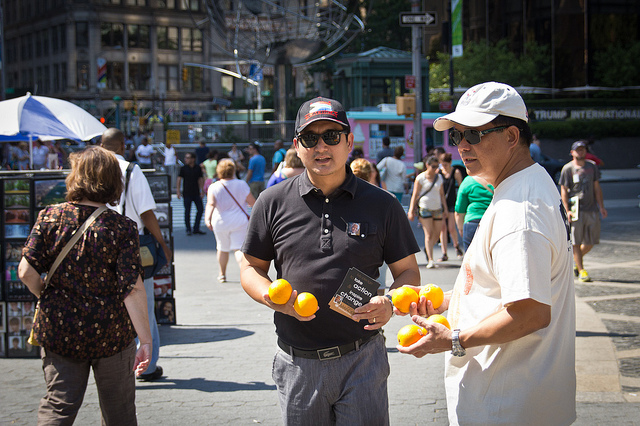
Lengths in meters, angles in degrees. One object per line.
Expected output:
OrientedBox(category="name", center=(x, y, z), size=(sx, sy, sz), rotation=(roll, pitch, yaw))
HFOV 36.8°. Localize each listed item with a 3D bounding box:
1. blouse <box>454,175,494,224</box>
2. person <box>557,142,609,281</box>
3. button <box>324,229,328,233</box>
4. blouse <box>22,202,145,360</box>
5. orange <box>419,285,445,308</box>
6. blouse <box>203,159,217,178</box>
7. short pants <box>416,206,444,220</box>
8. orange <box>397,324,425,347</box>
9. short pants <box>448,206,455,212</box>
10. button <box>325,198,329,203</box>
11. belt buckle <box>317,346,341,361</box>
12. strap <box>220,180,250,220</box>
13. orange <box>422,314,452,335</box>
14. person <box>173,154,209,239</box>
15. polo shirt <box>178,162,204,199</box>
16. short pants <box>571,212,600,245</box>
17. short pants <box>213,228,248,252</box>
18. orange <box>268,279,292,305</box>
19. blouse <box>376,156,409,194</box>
OrientedBox(category="blouse", center=(2.727, -0.221, 16.927), size=(0.351, 0.818, 0.936), rotation=(-3, 5, -13))
OrientedBox(category="person", center=(4.866, -0.191, 17.907), size=(1.056, 3.497, 1.532), rotation=(0, 1, 0))
OrientedBox(category="button", center=(0.079, 0.203, 10.974), size=(0.029, 0.036, 0.009), rotation=(-2, 4, 10))
OrientedBox(category="blouse", center=(-2.788, 0.818, 11.550), size=(1.929, 2.374, 1.246), rotation=(2, 11, -8))
OrientedBox(category="orange", center=(1.294, 0.936, 11.004), size=(0.253, 0.249, 0.246), rotation=(-2, 2, 25))
OrientedBox(category="blouse", center=(-3.062, -1.253, 27.111), size=(0.339, 0.500, 0.744), rotation=(-3, 5, -8))
OrientedBox(category="short pants", center=(2.254, 0.067, 19.923), size=(0.432, 0.308, 0.256), rotation=(1, -3, -12))
OrientedBox(category="orange", center=(1.012, 1.348, 10.751), size=(0.267, 0.212, 0.202), rotation=(-18, 47, -11))
OrientedBox(category="short pants", center=(2.781, -0.083, 20.287), size=(0.124, 0.097, 0.236), rotation=(-1, 5, 14))
OrientedBox(category="button", center=(0.089, -0.142, 11.029), size=(0.058, 0.052, 0.014), rotation=(5, 0, 21))
OrientedBox(category="belt buckle", center=(0.111, 1.587, 10.933), size=(0.248, 0.152, 0.016), rotation=(-3, 4, -4))
OrientedBox(category="strap", center=(-1.593, -0.233, 17.820), size=(0.130, 0.826, 0.037), rotation=(-36, 6, 30))
OrientedBox(category="orange", center=(1.305, 1.207, 10.686), size=(0.220, 0.267, 0.224), rotation=(-7, -1, 34))
OrientedBox(category="person", center=(-3.424, -0.383, 25.833), size=(1.019, 2.585, 1.179), rotation=(0, -2, -3))
OrientedBox(category="polo shirt", center=(-3.217, -0.807, 24.153), size=(0.566, 0.811, 0.351), rotation=(-4, 5, -21))
OrientedBox(category="short pants", center=(4.858, 0.268, 17.602), size=(0.526, 0.695, 0.398), rotation=(2, -10, 4))
OrientedBox(category="short pants", center=(-1.574, 0.461, 17.099), size=(0.618, 0.557, 0.350), rotation=(3, 7, 23))
OrientedBox(category="orange", center=(-0.445, 0.886, 10.884), size=(0.257, 0.260, 0.253), rotation=(0, -1, -6))
OrientedBox(category="blouse", center=(1.685, -0.875, 22.403), size=(1.036, 0.906, 0.459), rotation=(10, 24, 40))
